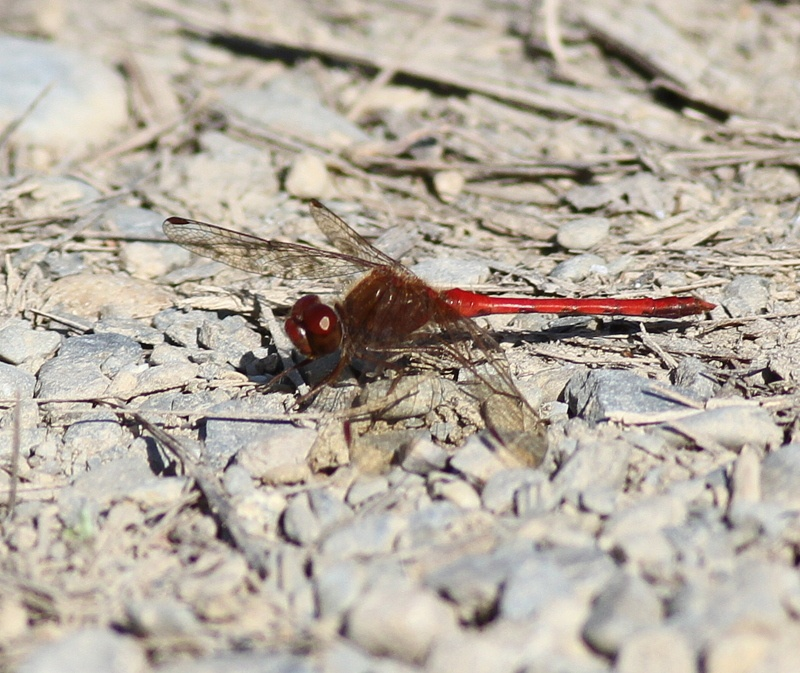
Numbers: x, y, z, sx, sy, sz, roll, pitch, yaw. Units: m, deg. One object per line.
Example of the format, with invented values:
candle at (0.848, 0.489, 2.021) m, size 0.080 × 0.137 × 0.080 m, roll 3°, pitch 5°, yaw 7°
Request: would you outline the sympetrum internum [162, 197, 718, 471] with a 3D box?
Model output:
sympetrum internum at (-0.026, 0.003, 3.737) m, size 2.949 × 1.203 × 0.973 m, roll -2°, pitch -72°, yaw -18°
